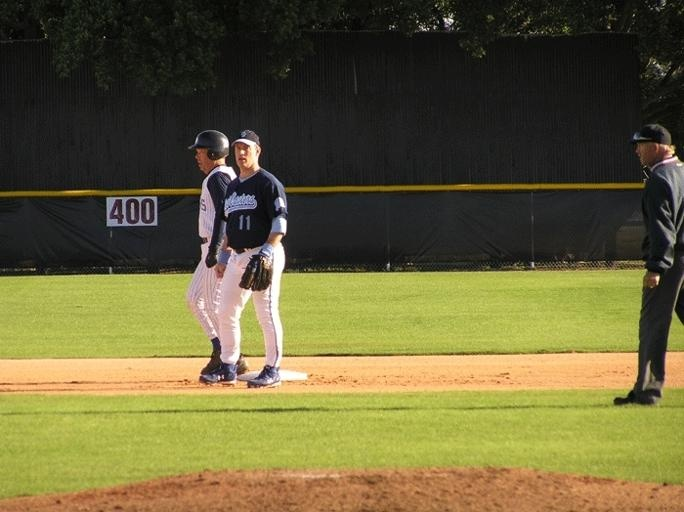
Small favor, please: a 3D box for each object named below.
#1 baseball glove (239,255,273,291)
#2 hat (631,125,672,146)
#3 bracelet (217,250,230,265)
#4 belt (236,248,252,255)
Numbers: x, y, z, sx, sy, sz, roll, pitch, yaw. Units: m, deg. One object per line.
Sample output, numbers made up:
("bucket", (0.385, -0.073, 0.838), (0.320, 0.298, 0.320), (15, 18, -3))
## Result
("baseball glove", (-1.724, 0.334, 30.145), (0.594, 0.728, 0.348), (16, 11, -24))
("hat", (6.184, -2.485, 29.759), (0.606, 0.345, 0.444), (16, 14, 16))
("bracelet", (-2.441, -0.009, 30.781), (0.176, 0.264, 0.171), (36, 11, 14))
("belt", (-2.023, -0.136, 30.424), (0.284, 0.114, 0.031), (4, 6, 16))
